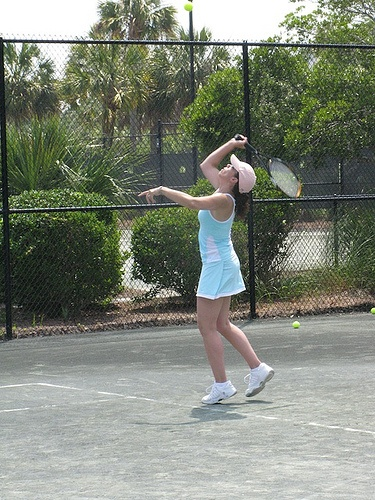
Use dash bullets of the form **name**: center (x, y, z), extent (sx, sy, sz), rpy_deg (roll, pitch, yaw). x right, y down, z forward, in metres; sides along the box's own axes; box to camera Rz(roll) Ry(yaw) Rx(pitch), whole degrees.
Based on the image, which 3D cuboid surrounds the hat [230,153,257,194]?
- **hat**: center (0.379, -0.521, 4.621), extent (0.155, 0.268, 0.247), rpy_deg (-2, 0, 4)

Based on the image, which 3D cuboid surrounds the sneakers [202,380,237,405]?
- **sneakers**: center (0.205, 0.970, 4.624), extent (0.220, 0.159, 0.225), rpy_deg (-2, -1, -4)

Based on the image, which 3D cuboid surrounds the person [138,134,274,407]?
- **person**: center (0.220, 0.102, 4.678), extent (0.674, 1.846, 0.863), rpy_deg (-2, 0, 5)

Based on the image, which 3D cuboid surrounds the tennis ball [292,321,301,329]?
- **tennis ball**: center (1.322, 0.912, 8.260), extent (0.069, 0.069, 0.080), rpy_deg (12, 23, 20)
